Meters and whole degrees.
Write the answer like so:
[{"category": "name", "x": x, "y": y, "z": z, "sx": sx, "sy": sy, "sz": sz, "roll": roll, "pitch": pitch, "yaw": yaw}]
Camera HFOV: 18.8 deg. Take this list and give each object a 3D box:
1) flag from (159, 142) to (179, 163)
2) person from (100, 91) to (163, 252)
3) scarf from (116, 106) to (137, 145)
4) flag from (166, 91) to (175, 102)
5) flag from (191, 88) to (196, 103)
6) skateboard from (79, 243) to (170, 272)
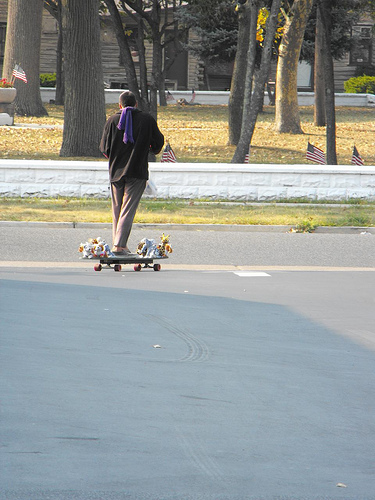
[{"category": "flag", "x": -0.348, "y": -2.019, "z": 23.277, "sx": 0.387, "sy": 0.582, "sz": 0.506, "roll": 2, "pitch": 5, "yaw": 10}, {"category": "person", "x": -0.530, "y": -0.655, "z": 10.650, "sx": 0.567, "sy": 1.396, "sz": 0.397, "roll": 1, "pitch": 8, "yaw": -4}, {"category": "scarf", "x": -0.559, "y": -1.192, "z": 10.434, "sx": 0.177, "sy": 0.382, "sz": 0.136, "roll": 1, "pitch": 3, "yaw": -39}, {"category": "flag", "x": -0.708, "y": -6.641, "z": 48.612, "sx": 0.383, "sy": 0.430, "sz": 0.583, "roll": 1, "pitch": 9, "yaw": -2}, {"category": "flag", "x": 0.286, "y": -6.620, "z": 48.401, "sx": 0.190, "sy": 0.484, "sz": 0.582, "roll": 1, "pitch": 9, "yaw": 0}, {"category": "skateboard", "x": -0.536, "y": 0.023, "z": 11.112, "sx": 1.105, "sy": 0.203, "sz": 0.328, "roll": -1, "pitch": 7, "yaw": -42}]
